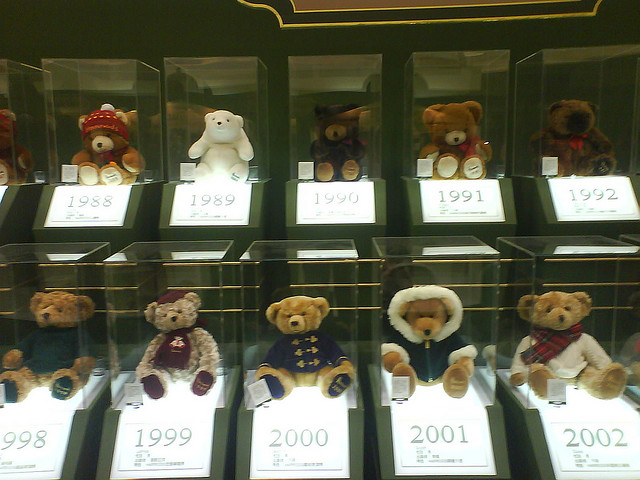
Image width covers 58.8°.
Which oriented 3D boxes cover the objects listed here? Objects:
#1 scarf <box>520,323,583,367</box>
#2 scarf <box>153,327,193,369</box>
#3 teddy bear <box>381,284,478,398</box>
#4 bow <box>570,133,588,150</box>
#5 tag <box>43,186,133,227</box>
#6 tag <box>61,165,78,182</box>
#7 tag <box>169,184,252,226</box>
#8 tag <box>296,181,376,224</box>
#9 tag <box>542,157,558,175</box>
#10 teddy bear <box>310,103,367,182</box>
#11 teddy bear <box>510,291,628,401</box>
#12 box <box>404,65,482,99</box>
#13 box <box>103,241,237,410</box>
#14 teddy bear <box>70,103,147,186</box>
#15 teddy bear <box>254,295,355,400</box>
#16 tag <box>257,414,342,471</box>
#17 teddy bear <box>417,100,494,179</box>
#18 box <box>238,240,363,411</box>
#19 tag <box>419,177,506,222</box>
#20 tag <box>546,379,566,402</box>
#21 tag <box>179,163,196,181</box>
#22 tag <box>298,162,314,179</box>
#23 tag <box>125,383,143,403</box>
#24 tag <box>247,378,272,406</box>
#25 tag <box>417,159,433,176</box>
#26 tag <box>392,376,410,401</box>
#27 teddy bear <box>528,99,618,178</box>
[{"bbox_3d":[1.168,0.545,2.940,0.300,0.187,0.090,-32,-16,-8],"label":"scarf"},{"bbox_3d":[-0.749,0.569,2.921,0.292,0.256,0.046,-1,-31,2],"label":"scarf"},{"bbox_3d":[0.558,0.520,2.873,0.474,0.526,0.313,1,-33,-3],"label":"teddy bear"},{"bbox_3d":[1.577,-0.600,3.458,0.129,0.089,0.026,2,-2,0],"label":"bow"},{"bbox_3d":[-1.363,-0.183,3.326,0.372,0.163,0.040,0,-30,-1],"label":"tag"},{"bbox_3d":[-1.503,-0.398,3.462,0.121,0.086,0.106,-1,7,-12],"label":"tag"},{"bbox_3d":[-0.673,-0.216,3.425,0.575,0.306,0.111,6,6,-30],"label":"tag"},{"bbox_3d":[0.081,-0.223,3.355,0.501,0.196,0.300,0,14,3],"label":"tag"},{"bbox_3d":[1.395,-0.446,3.429,0.127,0.090,0.028,1,-2,4],"label":"tag"},{"bbox_3d":[0.121,-0.629,3.619,0.363,0.524,0.254,0,-33,-2],"label":"teddy bear"},{"bbox_3d":[1.250,0.541,2.874,0.576,0.435,0.436,1,13,21],"label":"teddy bear"},{"bbox_3d":[0.716,-1.076,3.728,0.558,0.201,0.248,-13,29,-16],"label":"box"},{"bbox_3d":[-0.761,0.454,2.889,0.659,0.772,0.467,0,-33,-2],"label":"box"},{"bbox_3d":[-1.280,-0.557,3.476,0.435,0.470,0.239,7,-34,-12],"label":"teddy bear"},{"bbox_3d":[-0.086,0.545,2.906,0.557,0.416,0.365,-5,9,11],"label":"teddy bear"},{"bbox_3d":[-0.101,1.016,2.815,0.402,0.257,0.107,1,-34,-3],"label":"tag"},{"bbox_3d":[0.836,-0.622,3.577,0.679,0.487,0.369,-2,6,-6],"label":"teddy bear"},{"bbox_3d":[-0.084,0.487,3.175,0.984,0.976,0.826,-1,0,-1],"label":"box"},{"bbox_3d":[0.856,-0.213,3.434,0.567,0.281,0.105,-1,-24,2],"label":"tag"},{"bbox_3d":[1.183,0.761,2.835,0.087,0.106,0.072,-5,-32,7],"label":"tag"},{"bbox_3d":[-0.814,-0.420,3.508,0.160,0.109,0.047,0,4,1],"label":"tag"},{"bbox_3d":[-0.084,-0.435,3.575,0.129,0.089,0.105,0,-1,-4],"label":"tag"},{"bbox_3d":[-0.938,0.781,2.868,0.089,0.094,0.069,2,-32,-4],"label":"tag"},{"bbox_3d":[-0.301,0.768,2.836,0.141,0.117,0.030,-27,-3,4],"label":"tag"},{"bbox_3d":[0.659,-0.451,3.548,0.123,0.087,0.108,1,2,7],"label":"tag"},{"bbox_3d":[0.408,0.756,2.856,0.088,0.110,0.085,-3,-32,3],"label":"tag"},{"bbox_3d":[1.577,-0.615,3.479,0.687,0.485,0.371,0,-6,10],"label":"teddy bear"}]
